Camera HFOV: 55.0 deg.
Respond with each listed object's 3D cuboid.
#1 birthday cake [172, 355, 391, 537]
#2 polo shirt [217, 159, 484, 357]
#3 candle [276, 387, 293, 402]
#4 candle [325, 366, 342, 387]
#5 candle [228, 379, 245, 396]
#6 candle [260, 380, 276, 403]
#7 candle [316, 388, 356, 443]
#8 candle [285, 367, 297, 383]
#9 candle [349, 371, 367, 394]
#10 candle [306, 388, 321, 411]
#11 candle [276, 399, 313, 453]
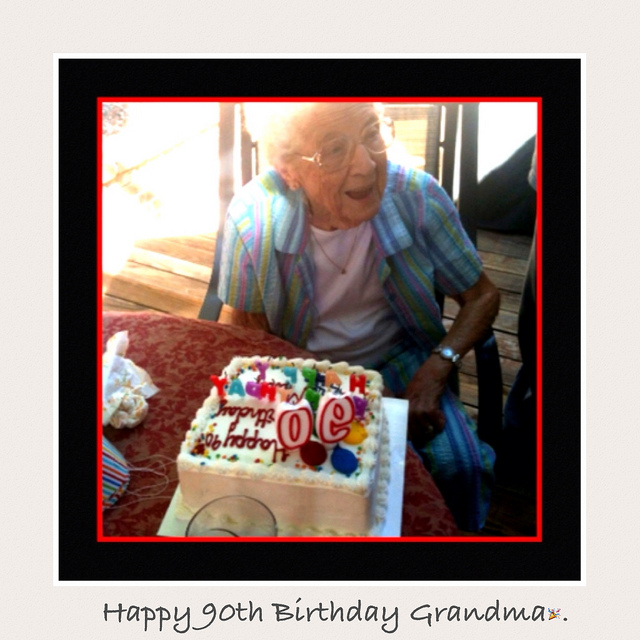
[{"bbox_3d":[-0.129,0.439,2.374,0.782,0.424,0.717,2,30,-2],"label":"birthday cake"},{"bbox_3d":[0.111,-0.353,3.151,1.366,1.069,0.728,-3,50,5],"label":"polo shirt"},{"bbox_3d":[-0.146,0.298,2.450,0.056,0.046,0.019,2,-28,-2],"label":"candle"},{"bbox_3d":[0.050,0.248,2.623,0.085,0.051,0.083,-13,46,-7],"label":"candle"},{"bbox_3d":[-0.334,0.272,2.452,0.066,0.053,0.022,1,11,2],"label":"candle"},{"bbox_3d":[-0.208,0.286,2.430,0.080,0.093,0.014,1,-6,-4],"label":"candle"},{"bbox_3d":[0.056,0.358,2.242,0.181,0.214,0.057,3,-8,-24],"label":"candle"},{"bbox_3d":[-0.119,0.227,2.571,0.055,0.050,0.054,1,1,2],"label":"candle"},{"bbox_3d":[0.158,0.263,2.548,0.088,0.088,0.030,0,-7,5],"label":"candle"},{"bbox_3d":[-0.029,0.309,2.368,0.043,0.066,0.037,-24,-29,24],"label":"candle"},{"bbox_3d":[-0.091,0.384,2.217,0.128,0.161,0.122,0,11,4],"label":"candle"}]
